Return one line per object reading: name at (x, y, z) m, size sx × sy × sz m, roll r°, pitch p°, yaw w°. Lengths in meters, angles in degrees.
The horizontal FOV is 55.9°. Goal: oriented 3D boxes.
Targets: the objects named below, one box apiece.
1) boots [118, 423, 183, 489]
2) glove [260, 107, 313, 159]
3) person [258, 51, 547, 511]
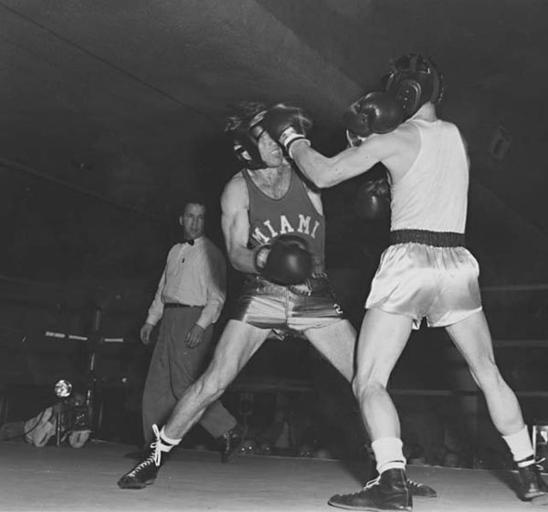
boots at (-0.612, 0.978, 2.524) m, size 0.269 × 0.287 × 0.130 m, roll 3°, pitch -19°, yaw -3°
glove at (0.048, -0.616, 2.468) m, size 0.209 × 0.282 × 0.117 m, roll 17°, pitch -64°, yaw -28°
person at (0.592, 0.072, 2.282) m, size 1.192 × 1.936 × 0.601 m, roll 13°, pitch -22°, yaw -30°
